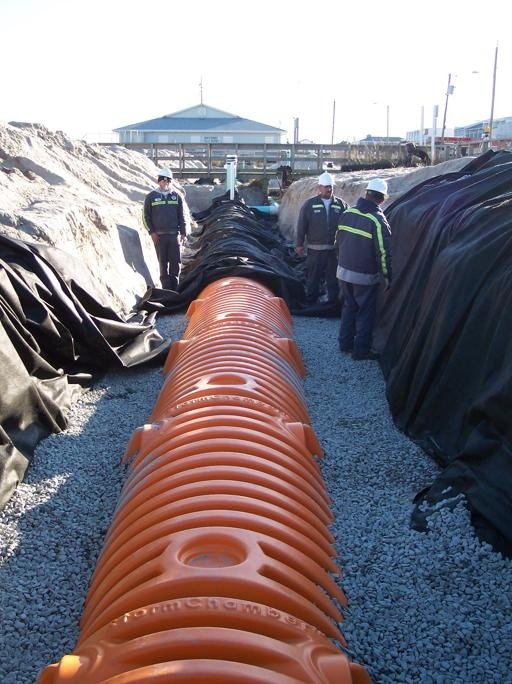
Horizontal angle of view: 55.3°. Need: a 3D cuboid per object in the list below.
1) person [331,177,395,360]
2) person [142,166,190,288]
[{"bbox_3d":[1.260,-0.815,5.768,0.500,2.040,0.729,-5,26,-11],"label":"person"},{"bbox_3d":[-1.528,-1.851,8.282,0.689,2.000,0.468,-6,26,-12],"label":"person"}]
